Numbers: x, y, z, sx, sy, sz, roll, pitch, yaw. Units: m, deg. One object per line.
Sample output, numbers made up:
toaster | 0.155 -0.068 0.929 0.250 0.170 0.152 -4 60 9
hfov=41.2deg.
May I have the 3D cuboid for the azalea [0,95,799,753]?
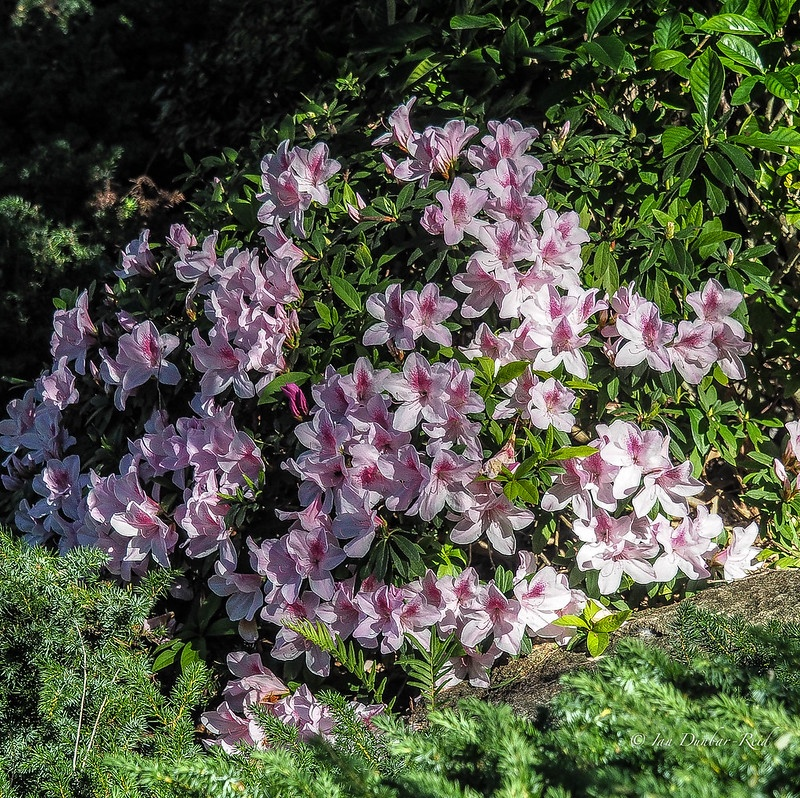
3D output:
azalea | 0.052 0.147 4.252 2.113 2.367 1.270 0 -23 3
